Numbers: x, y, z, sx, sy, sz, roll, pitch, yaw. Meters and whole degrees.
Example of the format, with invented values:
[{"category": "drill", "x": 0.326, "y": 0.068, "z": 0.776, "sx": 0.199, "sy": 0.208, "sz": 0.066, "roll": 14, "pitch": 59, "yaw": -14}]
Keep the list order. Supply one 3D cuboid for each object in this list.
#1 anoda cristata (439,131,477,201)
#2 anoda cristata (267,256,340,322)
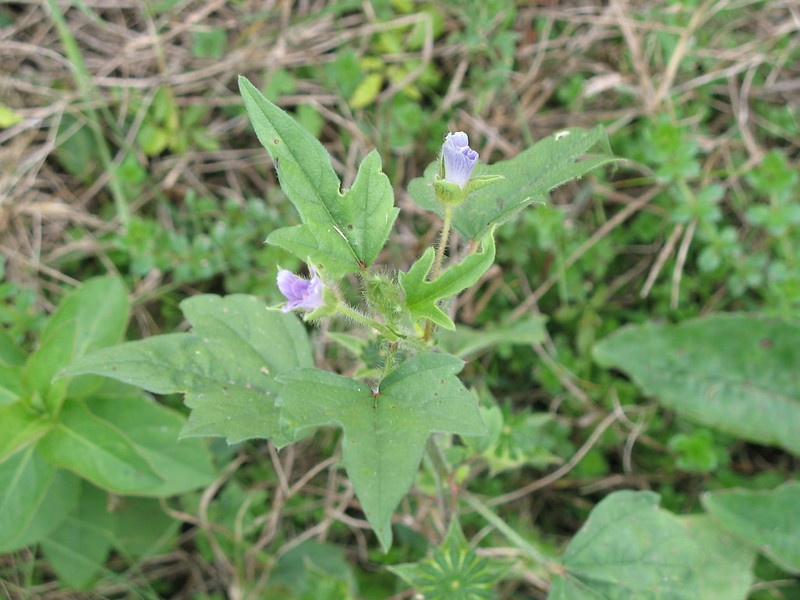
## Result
[{"category": "anoda cristata", "x": 0.312, "y": -0.681, "z": 3.800, "sx": 0.180, "sy": 0.431, "sz": 0.389, "roll": -3, "pitch": 55, "yaw": 6}, {"category": "anoda cristata", "x": -0.449, "y": -0.010, "z": 3.666, "sx": 0.297, "sy": 0.310, "sz": 0.269, "roll": -18, "pitch": 55, "yaw": -5}]
